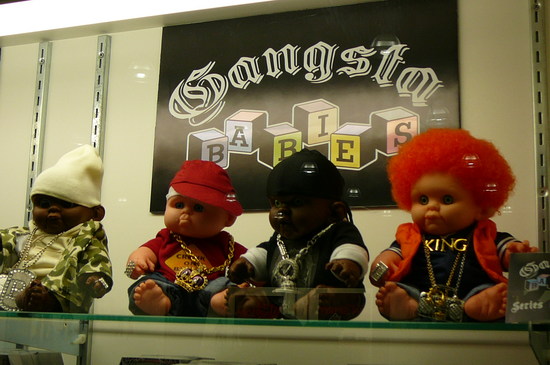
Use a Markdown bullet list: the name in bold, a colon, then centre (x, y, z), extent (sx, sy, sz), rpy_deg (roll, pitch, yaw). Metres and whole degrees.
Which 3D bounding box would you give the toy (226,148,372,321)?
- **toy**: centre (0.076, 0.142, 1.250), extent (0.367, 0.436, 0.302), rpy_deg (-6, -18, 27)

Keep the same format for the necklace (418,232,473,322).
- **necklace**: centre (0.402, 0.227, 1.135), extent (0.117, 0.191, 0.077), rpy_deg (-6, -12, 22)

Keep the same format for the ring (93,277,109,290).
- **ring**: centre (-0.464, 0.269, 1.272), extent (0.031, 0.016, 0.040), rpy_deg (48, -23, -27)

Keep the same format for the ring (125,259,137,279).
- **ring**: centre (-0.382, 0.228, 1.270), extent (0.037, 0.046, 0.016), rpy_deg (10, 8, 39)

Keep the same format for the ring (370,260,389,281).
- **ring**: centre (0.253, 0.221, 1.163), extent (0.047, 0.055, 0.021), rpy_deg (-3, -12, 11)

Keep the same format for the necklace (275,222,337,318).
- **necklace**: centre (0.063, 0.208, 1.189), extent (0.131, 0.163, 0.087), rpy_deg (3, 8, 7)

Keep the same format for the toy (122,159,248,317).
- **toy**: centre (-0.217, 0.146, 1.262), extent (0.333, 0.403, 0.357), rpy_deg (-5, -9, 38)
